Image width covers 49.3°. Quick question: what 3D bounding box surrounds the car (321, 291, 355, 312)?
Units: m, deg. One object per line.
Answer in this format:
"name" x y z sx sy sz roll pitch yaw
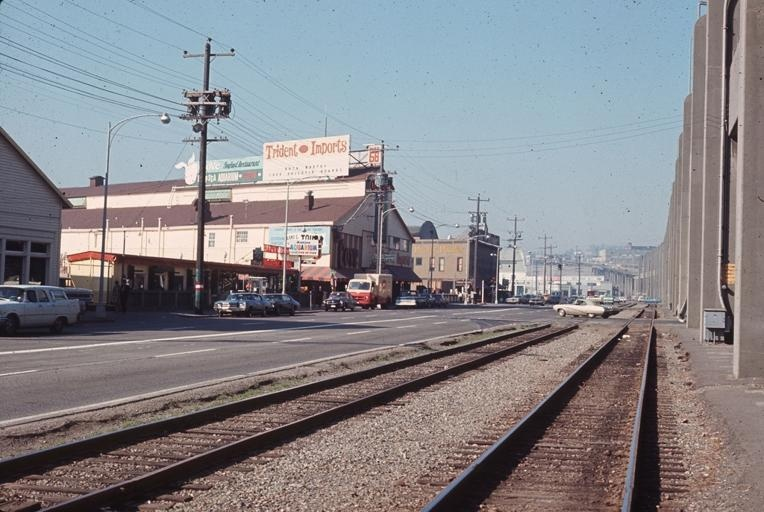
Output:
"car" -3.181 3.401 63.170 2.264 1.432 1.291 4 -6 -35

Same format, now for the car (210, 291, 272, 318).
"car" -8.425 2.910 50.614 1.736 1.464 3.415 -3 -6 30

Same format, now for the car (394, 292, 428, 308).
"car" 2.797 4.026 77.106 2.388 1.560 5.524 0 -6 7

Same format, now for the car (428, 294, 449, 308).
"car" 5.683 4.558 83.764 1.246 1.226 5.800 -1 -6 8

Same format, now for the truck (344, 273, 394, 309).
"truck" -1.149 2.966 70.536 2.249 2.422 4.358 -2 -7 17

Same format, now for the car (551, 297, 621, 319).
"car" 15.717 4.029 64.210 3.758 1.532 4.320 -2 -6 23
